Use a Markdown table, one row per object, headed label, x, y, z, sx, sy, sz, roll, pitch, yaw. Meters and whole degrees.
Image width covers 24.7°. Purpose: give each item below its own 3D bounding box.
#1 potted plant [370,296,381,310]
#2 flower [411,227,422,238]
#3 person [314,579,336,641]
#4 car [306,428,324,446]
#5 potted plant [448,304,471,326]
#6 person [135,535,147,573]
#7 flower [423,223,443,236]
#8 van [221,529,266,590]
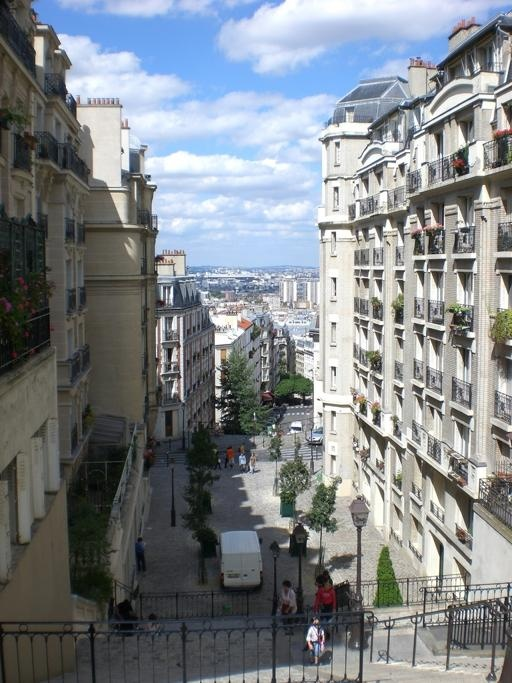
| label | x | y | z | sx | sy | sz | roll | pitch | yaw |
| --- | --- | --- | --- | --- | --- | --- | --- | --- | --- |
| potted plant | 4.863 | -1.539 | 48.076 | 0.328 | 0.565 | 0.371 | 1 | 4 | -16 |
| flower | 5.434 | -3.717 | 39.874 | 0.306 | 0.271 | 0.473 | -3 | 3 | -7 |
| person | 1.648 | 6.299 | 27.780 | 0.393 | 1.759 | 0.496 | -3 | 29 | 4 |
| car | 4.333 | 7.408 | 87.281 | 1.046 | 0.862 | 2.290 | 3 | 9 | 12 |
| potted plant | 5.968 | -0.754 | 34.313 | 0.330 | 0.659 | 0.510 | -3 | 9 | -33 |
| person | -4.125 | 7.641 | 41.313 | 0.350 | 1.206 | 1.440 | 0 | 2 | -6 |
| flower | 5.670 | -3.598 | 37.696 | 0.479 | 0.464 | 2.006 | 0 | 2 | 3 |
| van | -0.587 | 7.573 | 40.385 | 0.898 | 1.084 | 1.833 | -1 | 11 | -2 |
